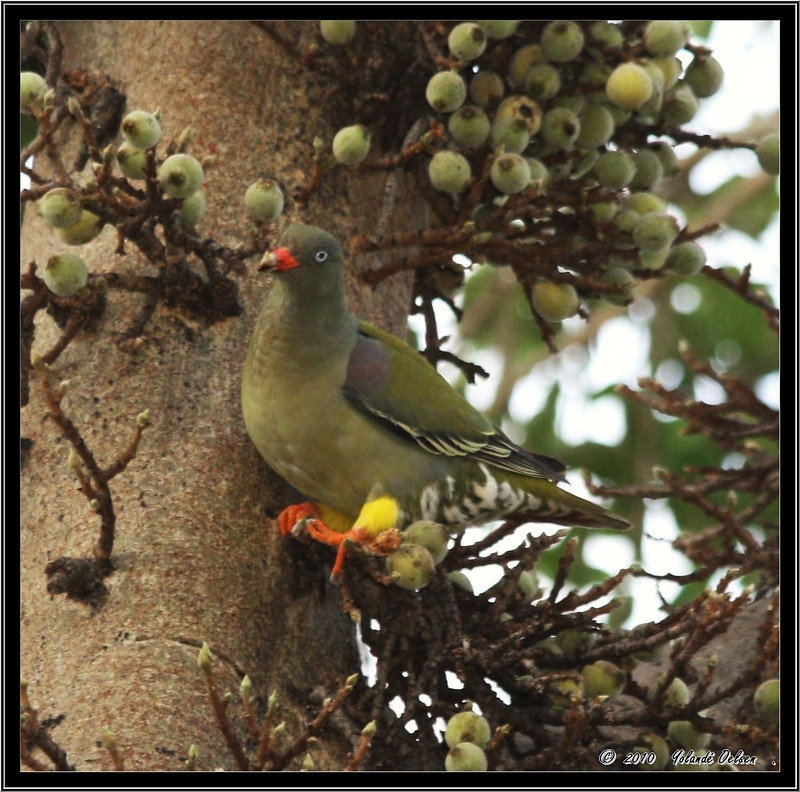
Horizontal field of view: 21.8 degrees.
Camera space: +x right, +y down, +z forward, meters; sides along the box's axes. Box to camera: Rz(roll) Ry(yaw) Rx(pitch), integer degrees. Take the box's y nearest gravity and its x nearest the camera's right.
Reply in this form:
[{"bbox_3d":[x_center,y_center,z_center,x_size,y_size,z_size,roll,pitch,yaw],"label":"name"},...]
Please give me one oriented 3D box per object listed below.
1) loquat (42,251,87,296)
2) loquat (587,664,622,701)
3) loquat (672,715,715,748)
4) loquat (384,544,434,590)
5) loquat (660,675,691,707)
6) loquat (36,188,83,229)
[{"bbox_3d":[-1.225,-0.450,7.594,0.150,0.088,0.153,45,83,-8],"label":"loquat"},{"bbox_3d":[0.751,1.062,7.741,0.143,0.111,0.107,4,89,24],"label":"loquat"},{"bbox_3d":[1.063,1.241,7.641,0.162,0.129,0.074,20,62,-6],"label":"loquat"},{"bbox_3d":[0.039,0.611,7.565,0.144,0.167,0.100,8,56,12],"label":"loquat"},{"bbox_3d":[1.021,1.084,7.685,0.108,0.107,0.117,1,84,29],"label":"loquat"},{"bbox_3d":[-1.233,-0.678,7.494,0.152,0.156,0.134,16,62,-8],"label":"loquat"}]
